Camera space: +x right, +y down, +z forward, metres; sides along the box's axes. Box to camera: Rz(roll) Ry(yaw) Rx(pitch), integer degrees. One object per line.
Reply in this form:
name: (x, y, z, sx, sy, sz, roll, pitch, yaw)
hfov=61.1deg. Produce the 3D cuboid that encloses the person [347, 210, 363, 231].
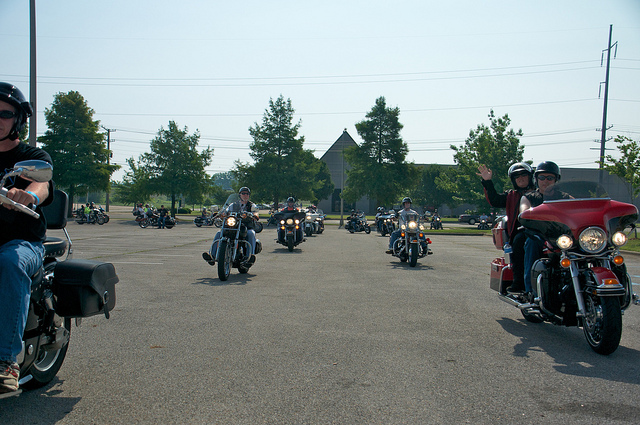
person: (2.054, 0.358, 33.561, 0.652, 0.815, 1.222, -2, -7, -17)

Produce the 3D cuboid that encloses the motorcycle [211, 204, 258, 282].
motorcycle: (-2.017, 0.650, 11.932, 0.752, 1.081, 1.668, -1, -4, 4)

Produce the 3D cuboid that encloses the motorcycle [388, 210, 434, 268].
motorcycle: (2.480, 0.748, 14.841, 0.753, 0.950, 1.652, 2, -4, 0)

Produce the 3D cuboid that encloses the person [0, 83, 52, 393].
person: (-2.852, 0.285, 5.271, 0.453, 3.083, 1.043, -2, 7, -27)

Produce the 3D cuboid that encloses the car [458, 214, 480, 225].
car: (16.315, 0.846, 59.723, 2.345, 0.920, 1.245, -2, 2, 3)

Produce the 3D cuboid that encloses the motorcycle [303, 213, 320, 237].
motorcycle: (-0.519, 0.628, 26.882, 1.030, 1.493, 2.549, -1, -3, 3)

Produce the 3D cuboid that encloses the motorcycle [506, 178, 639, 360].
motorcycle: (3.417, 0.687, 7.233, 1.024, 2.180, 1.401, -3, 7, -33)

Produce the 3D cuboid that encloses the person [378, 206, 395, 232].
person: (3.708, 0.282, 31.196, 0.903, 1.142, 1.952, -2, -2, -7)

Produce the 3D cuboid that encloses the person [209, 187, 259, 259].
person: (-1.820, 0.348, 12.096, 1.072, 1.363, 2.185, 3, 12, 10)

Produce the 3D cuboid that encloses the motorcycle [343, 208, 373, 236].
motorcycle: (2.189, 0.608, 33.642, 1.029, 1.466, 2.519, -8, 1, -30)

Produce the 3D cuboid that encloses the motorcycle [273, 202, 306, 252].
motorcycle: (-1.040, 0.470, 18.886, 0.744, 1.127, 1.961, 1, -2, 1)

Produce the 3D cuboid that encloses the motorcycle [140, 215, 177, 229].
motorcycle: (-10.329, 0.584, 34.609, 1.746, 1.066, 0.948, 6, -4, -2)

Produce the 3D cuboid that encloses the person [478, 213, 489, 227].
person: (13.519, 0.623, 45.242, 0.975, 1.035, 1.554, -2, -11, 12)

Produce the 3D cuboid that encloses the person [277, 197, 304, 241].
person: (-1.112, 0.191, 19.331, 0.775, 0.993, 1.655, -1, -6, -1)

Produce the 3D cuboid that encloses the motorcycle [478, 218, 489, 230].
motorcycle: (12.975, 0.822, 43.479, 0.737, 1.503, 0.824, -5, -11, 8)

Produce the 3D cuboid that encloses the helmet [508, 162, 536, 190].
helmet: (3.379, -0.569, 8.944, 0.413, 0.465, 0.440, -5, -24, 28)

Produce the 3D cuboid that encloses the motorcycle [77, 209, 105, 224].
motorcycle: (-15.158, 0.329, 35.798, 1.311, 0.878, 0.760, -2, 8, -1)

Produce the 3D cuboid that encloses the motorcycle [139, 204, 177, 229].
motorcycle: (-10.418, 0.289, 34.832, 1.939, 1.291, 1.239, 5, -4, -8)

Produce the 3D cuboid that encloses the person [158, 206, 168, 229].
person: (-10.129, 0.277, 34.641, 0.473, 1.278, 1.939, -1, 6, -17)

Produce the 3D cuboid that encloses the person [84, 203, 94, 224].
person: (-15.580, 0.078, 36.469, 0.574, 1.237, 1.932, -2, 6, -24)

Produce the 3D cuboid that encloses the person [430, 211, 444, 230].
person: (8.565, 0.288, 39.836, 0.632, 0.829, 1.331, -1, -3, -1)

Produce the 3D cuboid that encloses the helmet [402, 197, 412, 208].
helmet: (2.362, -0.281, 14.856, 0.237, 0.299, 0.304, 1, 0, 4)
